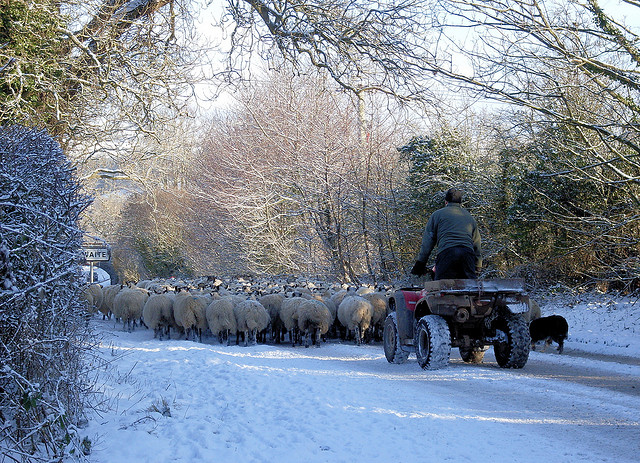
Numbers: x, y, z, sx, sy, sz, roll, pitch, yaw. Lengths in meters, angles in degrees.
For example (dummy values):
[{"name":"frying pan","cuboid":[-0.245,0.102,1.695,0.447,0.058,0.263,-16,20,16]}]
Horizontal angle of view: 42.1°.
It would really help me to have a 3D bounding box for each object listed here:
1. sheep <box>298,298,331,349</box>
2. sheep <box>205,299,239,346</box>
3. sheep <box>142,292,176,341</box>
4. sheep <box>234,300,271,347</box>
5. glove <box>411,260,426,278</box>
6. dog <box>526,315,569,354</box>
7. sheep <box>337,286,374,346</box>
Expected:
[{"name":"sheep","cuboid":[-0.164,2.761,24.430,0.950,1.382,0.482,1,8,-2]},{"name":"sheep","cuboid":[-3.102,2.704,25.219,0.835,1.334,1.883,-5,6,-22]},{"name":"sheep","cuboid":[-4.813,2.635,25.288,0.974,1.385,0.954,7,9,38]},{"name":"sheep","cuboid":[-2.259,2.738,25.422,1.018,1.295,2.307,2,0,-20]},{"name":"glove","cuboid":[2.281,0.890,19.600,0.277,0.386,0.150,38,17,-42]},{"name":"dog","cuboid":[5.820,2.788,22.082,1.523,0.892,0.421,-2,6,1]},{"name":"sheep","cuboid":[1.125,2.728,24.678,0.856,1.545,1.184,-1,8,-14]}]
